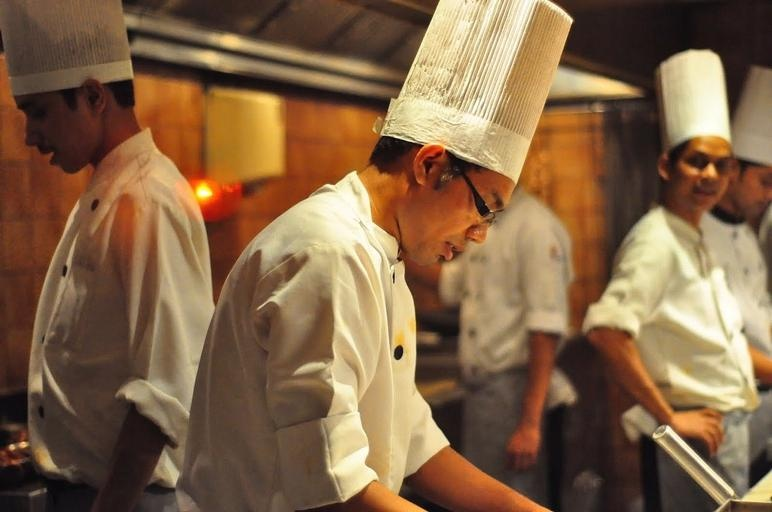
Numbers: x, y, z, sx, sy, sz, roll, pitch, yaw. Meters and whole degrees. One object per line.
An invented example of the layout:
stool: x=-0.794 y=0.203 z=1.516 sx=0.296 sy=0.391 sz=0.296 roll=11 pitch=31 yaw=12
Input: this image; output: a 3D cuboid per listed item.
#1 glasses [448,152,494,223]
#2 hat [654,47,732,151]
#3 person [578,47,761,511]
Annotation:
glasses: x=0.239 y=-0.192 z=3.337 sx=0.048 sy=0.165 sz=0.159 roll=-23 pitch=-26 yaw=13
hat: x=1.118 y=-0.575 z=4.198 sx=0.309 sy=0.392 sz=0.257 roll=-8 pitch=-6 yaw=2
person: x=1.111 y=0.058 z=4.273 sx=0.712 sy=1.626 sz=0.191 roll=5 pitch=7 yaw=9
